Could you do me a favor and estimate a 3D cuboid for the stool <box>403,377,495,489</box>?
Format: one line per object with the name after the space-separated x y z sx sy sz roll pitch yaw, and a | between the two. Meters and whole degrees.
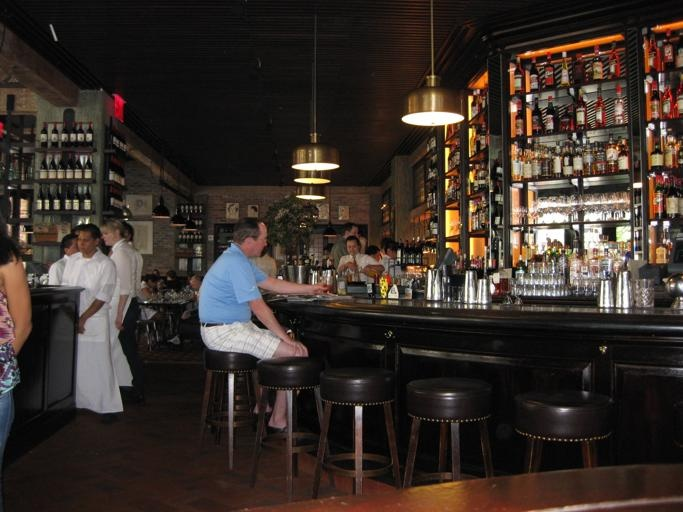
0.716 1.165 4.590 0.566 0.724 0.558 1 3 12 | stool

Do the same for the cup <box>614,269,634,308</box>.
2.016 0.241 4.923 0.119 0.259 0.272 2 3 23 | cup

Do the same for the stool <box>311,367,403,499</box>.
0.112 1.254 4.912 0.636 0.983 0.726 0 3 -14 | stool

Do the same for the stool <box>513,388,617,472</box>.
1.327 1.000 4.137 0.486 0.494 0.503 0 -3 3 | stool

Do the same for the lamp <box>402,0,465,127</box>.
0.933 -1.899 6.761 0.519 1.419 2.427 1 3 10 | lamp

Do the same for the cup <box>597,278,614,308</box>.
1.914 0.270 4.972 0.107 0.197 0.179 2 3 18 | cup
